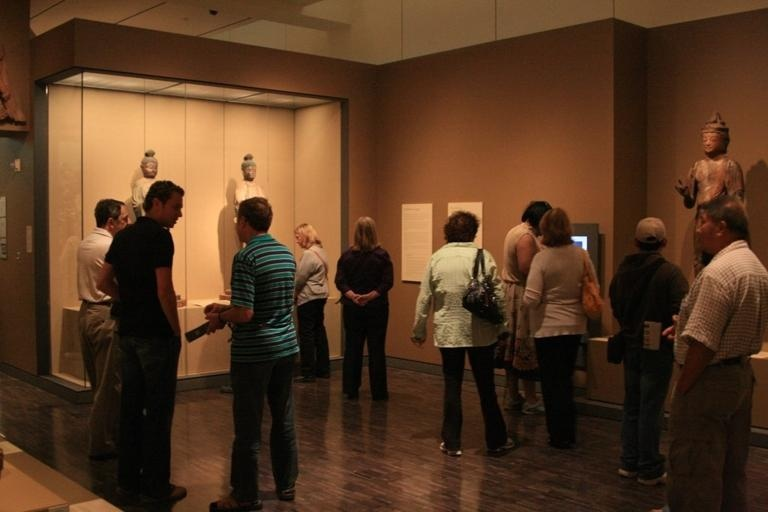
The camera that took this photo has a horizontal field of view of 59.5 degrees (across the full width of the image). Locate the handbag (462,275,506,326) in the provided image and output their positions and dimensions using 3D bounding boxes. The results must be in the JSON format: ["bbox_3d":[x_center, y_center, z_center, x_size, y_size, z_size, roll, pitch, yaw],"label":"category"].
[{"bbox_3d":[0.919,0.402,6.108,0.304,0.427,0.158,-9,8,-24],"label":"handbag"}]

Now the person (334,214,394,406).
[{"bbox_3d":[-0.233,0.648,8.189,0.709,2.231,0.331,1,4,10],"label":"person"}]

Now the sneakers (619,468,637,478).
[{"bbox_3d":[2.193,1.937,5.979,0.148,0.064,0.057,7,-14,25],"label":"sneakers"}]

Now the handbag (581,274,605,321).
[{"bbox_3d":[2.028,0.414,6.470,0.217,0.400,0.103,-12,-17,33],"label":"handbag"}]

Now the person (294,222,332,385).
[{"bbox_3d":[-0.958,0.641,9.061,0.453,2.136,0.415,-1,4,-8],"label":"person"}]

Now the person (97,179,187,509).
[{"bbox_3d":[-2.015,0.704,5.620,0.705,2.663,0.327,1,4,13],"label":"person"}]
